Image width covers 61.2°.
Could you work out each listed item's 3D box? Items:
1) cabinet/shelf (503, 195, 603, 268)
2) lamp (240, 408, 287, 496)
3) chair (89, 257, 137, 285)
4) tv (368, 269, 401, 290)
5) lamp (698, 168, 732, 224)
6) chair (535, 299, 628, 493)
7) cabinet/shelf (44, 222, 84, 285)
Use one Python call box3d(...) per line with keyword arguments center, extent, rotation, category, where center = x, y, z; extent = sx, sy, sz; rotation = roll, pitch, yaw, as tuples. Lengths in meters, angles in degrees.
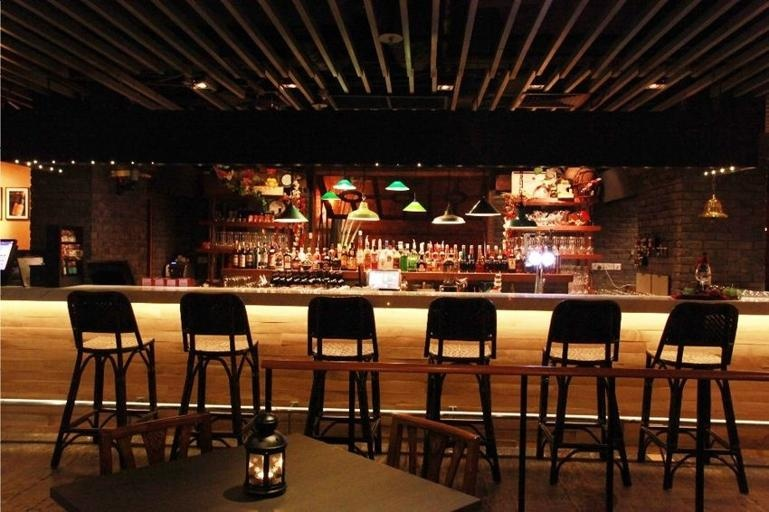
box3d(center=(2.520, -0.371, 9.473), extent=(1.642, 1.548, 1.106), rotation=(0, 3, 8), category="cabinet/shelf")
box3d(center=(-0.747, 1.227, 4.066), extent=(0.290, 0.477, 0.287), rotation=(1, 2, 16), category="lamp")
box3d(center=(-3.751, 0.196, 8.914), extent=(0.640, 0.341, 0.604), rotation=(3, 5, -6), category="chair")
box3d(center=(-0.006, 0.276, 7.534), extent=(0.379, 0.215, 0.258), rotation=(3, -9, 6), category="tv")
box3d(center=(4.420, -0.816, 8.668), extent=(0.329, 0.645, 0.570), rotation=(3, 3, 27), category="lamp")
box3d(center=(1.886, 1.241, 6.096), extent=(0.859, 1.709, 1.364), rotation=(2, 2, 13), category="chair")
box3d(center=(-4.354, -0.014, 8.968), extent=(0.272, 0.766, 0.802), rotation=(-16, 12, -43), category="cabinet/shelf")
